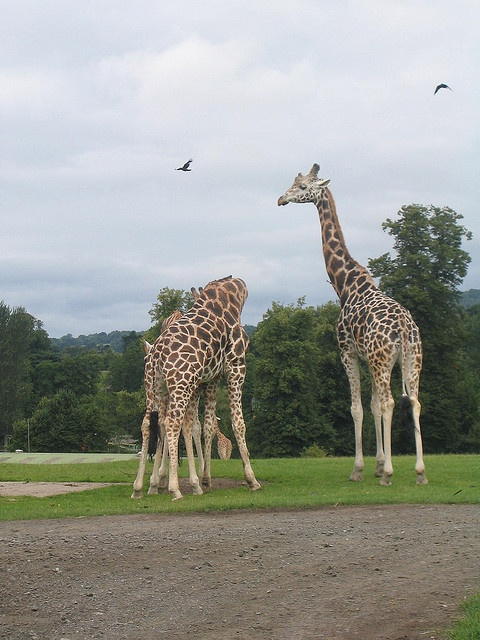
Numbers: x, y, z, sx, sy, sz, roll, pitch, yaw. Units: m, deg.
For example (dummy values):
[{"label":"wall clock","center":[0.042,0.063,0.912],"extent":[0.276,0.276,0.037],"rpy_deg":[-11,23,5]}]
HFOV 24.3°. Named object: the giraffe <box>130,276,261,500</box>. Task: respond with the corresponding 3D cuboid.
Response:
[{"label":"giraffe","center":[-0.866,1.255,21.863],"extent":[2.267,4.317,4.257],"rpy_deg":[-1,-1,5]}]
